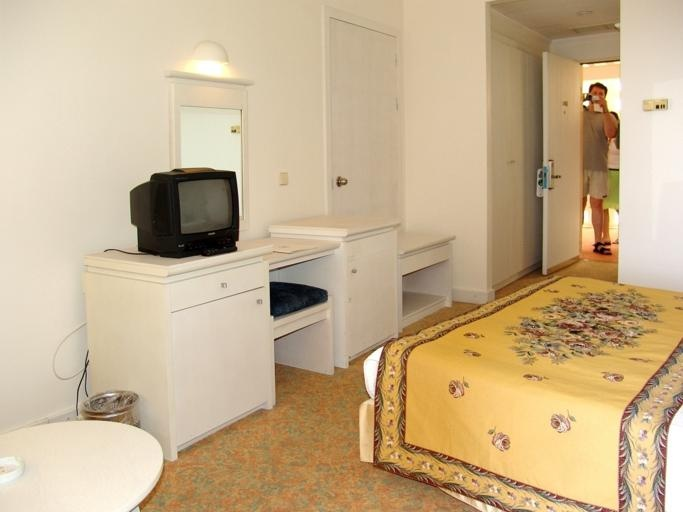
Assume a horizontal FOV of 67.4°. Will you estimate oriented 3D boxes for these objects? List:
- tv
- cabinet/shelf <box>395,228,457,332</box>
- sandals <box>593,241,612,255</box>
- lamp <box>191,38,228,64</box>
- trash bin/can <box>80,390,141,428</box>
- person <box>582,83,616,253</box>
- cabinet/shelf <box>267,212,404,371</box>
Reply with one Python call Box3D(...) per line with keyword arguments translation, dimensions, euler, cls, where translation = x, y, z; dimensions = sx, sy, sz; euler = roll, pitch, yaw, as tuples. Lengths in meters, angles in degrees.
Box3D(translation=(-0.816, -0.232, 2.846), dimensions=(0.467, 0.536, 0.609), euler=(5, 8, 32), cls="tv")
Box3D(translation=(0.723, 0.219, 4.445), dimensions=(0.487, 0.591, 0.691), euler=(9, 20, 35), cls="cabinet/shelf")
Box3D(translation=(3.440, -0.116, 6.723), dimensions=(0.110, 0.133, 0.307), euler=(-5, 5, 0), cls="sandals")
Box3D(translation=(-0.829, -1.331, 3.310), dimensions=(0.144, 0.145, 0.269), euler=(7, 15, 30), cls="lamp")
Box3D(translation=(-1.138, 0.717, 2.507), dimensions=(0.223, 0.148, 0.218), euler=(4, 4, 33), cls="trash bin/can")
Box3D(translation=(3.343, -1.144, 6.663), dimensions=(0.457, 2.157, 0.540), euler=(5, 14, 27), cls="person")
Box3D(translation=(0.068, 0.022, 4.199), dimensions=(0.909, 1.399, 1.274), euler=(3, 11, 28), cls="cabinet/shelf")
